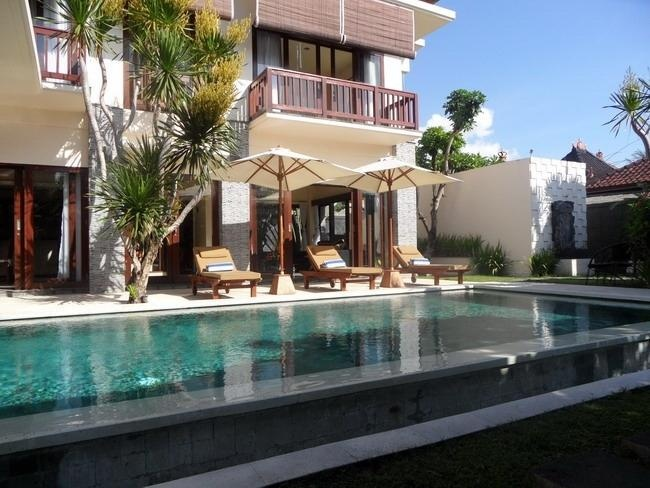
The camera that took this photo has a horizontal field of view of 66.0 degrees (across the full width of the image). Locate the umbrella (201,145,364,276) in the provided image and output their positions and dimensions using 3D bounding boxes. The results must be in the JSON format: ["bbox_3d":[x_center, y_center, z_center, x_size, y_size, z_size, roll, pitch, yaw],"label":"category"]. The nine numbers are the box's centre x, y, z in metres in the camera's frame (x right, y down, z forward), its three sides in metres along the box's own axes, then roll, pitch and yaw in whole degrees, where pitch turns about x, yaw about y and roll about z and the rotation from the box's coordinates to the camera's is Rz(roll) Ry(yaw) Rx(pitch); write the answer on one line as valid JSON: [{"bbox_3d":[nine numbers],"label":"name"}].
[{"bbox_3d":[-1.063,-0.707,11.214,2.849,2.639,3.016,7,16,22],"label":"umbrella"}]

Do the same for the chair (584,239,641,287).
[{"bbox_3d":[6.573,0.397,11.748,0.891,1.129,0.908,-9,7,-39],"label":"chair"}]
